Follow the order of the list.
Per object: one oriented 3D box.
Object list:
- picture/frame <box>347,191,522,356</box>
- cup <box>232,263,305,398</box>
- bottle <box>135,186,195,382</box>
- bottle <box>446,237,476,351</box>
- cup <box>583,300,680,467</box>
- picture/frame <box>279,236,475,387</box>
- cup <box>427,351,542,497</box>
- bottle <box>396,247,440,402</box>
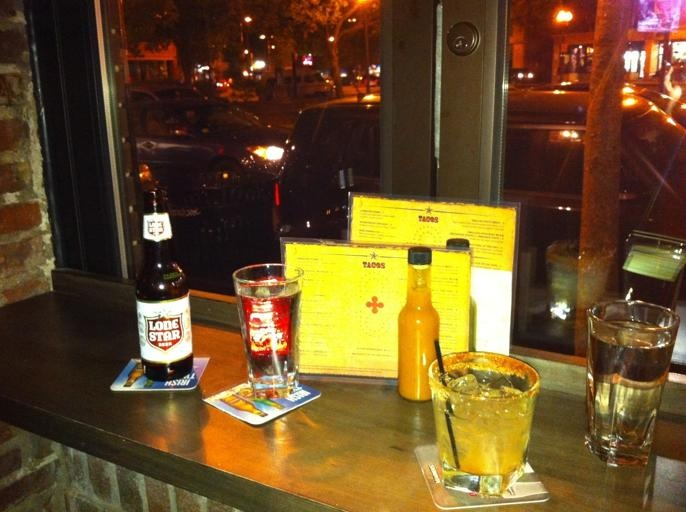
[{"bbox_3d":[0.175,0.047,1.110,0.337,0.329,0.029,5,-13,-6],"label":"picture/frame"},{"bbox_3d":[-0.154,0.147,1.168,0.140,0.251,0.122,-1,13,-4],"label":"cup"},{"bbox_3d":[-0.376,0.058,1.179,0.105,0.403,0.105,0,13,0],"label":"bottle"},{"bbox_3d":[0.232,0.076,1.112,0.065,0.221,0.040,2,13,9],"label":"bottle"},{"bbox_3d":[0.496,0.217,0.997,0.139,0.255,0.140,0,13,0],"label":"cup"},{"bbox_3d":[0.065,0.109,1.142,0.383,0.280,0.007,3,-19,-5],"label":"picture/frame"},{"bbox_3d":[0.234,0.282,0.954,0.172,0.185,0.176,-1,13,0],"label":"cup"},{"bbox_3d":[0.143,0.135,1.068,0.074,0.314,0.050,1,13,6],"label":"bottle"}]
